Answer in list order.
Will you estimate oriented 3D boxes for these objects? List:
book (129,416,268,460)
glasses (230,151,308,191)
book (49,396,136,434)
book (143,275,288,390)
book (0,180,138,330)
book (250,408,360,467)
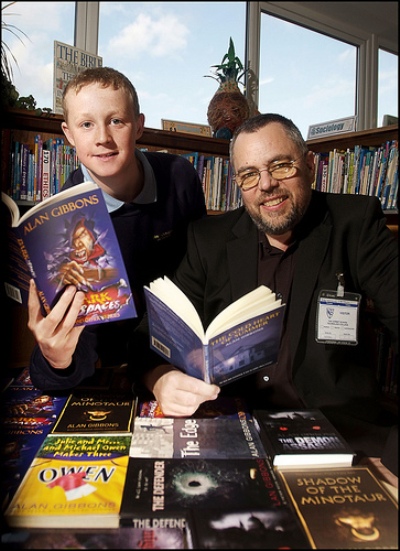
[{"bbox_3d":[-0.009,0.347,0.875,0.274,0.011,0.187,0,4,-4],"label":"book"},{"bbox_3d":[0.217,-0.324,1.326,0.211,0.098,0.063,1,4,10],"label":"glasses"},{"bbox_3d":[-0.249,0.331,1.009,0.198,0.021,0.151,-4,14,8],"label":"book"},{"bbox_3d":[0.022,0.135,0.962,0.338,0.247,0.245,1,4,6],"label":"book"},{"bbox_3d":[-0.285,-0.045,0.980,0.357,0.299,0.114,-7,33,4],"label":"book"},{"bbox_3d":[0.208,0.337,0.862,0.159,0.031,0.208,0,4,-2],"label":"book"}]
